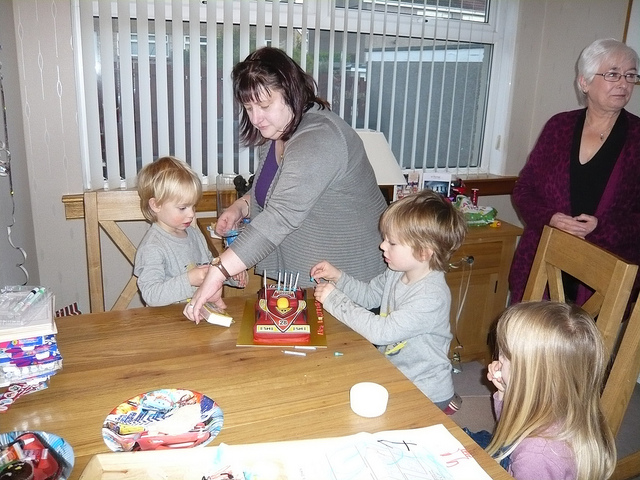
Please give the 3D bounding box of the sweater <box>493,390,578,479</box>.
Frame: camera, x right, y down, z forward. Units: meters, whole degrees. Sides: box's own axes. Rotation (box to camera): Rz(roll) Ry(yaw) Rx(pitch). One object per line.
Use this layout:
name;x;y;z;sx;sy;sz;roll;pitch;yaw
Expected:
sweater;0.512;0.485;1.051;0.103;0.144;0.193;-2;14;3

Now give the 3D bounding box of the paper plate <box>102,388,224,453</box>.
paper plate;-0.346;0.401;0.995;0.259;0.044;0.157;-3;15;-7

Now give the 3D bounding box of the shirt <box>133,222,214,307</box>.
shirt;-0.552;0.087;1.625;0.306;0.350;0.348;-1;16;-16

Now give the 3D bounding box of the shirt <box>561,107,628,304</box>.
shirt;1.094;-0.163;1.753;0.213;0.818;0.238;10;21;19

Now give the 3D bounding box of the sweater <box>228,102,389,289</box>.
sweater;-0.070;-0.122;1.595;0.414;0.731;0.436;-5;22;-23

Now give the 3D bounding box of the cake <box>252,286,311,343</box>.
cake;-0.115;0.209;1.362;0.179;0.075;0.261;3;25;-5

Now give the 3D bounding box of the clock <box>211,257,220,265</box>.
clock;-0.314;0.069;1.340;0.026;0.007;0.028;-24;34;32
